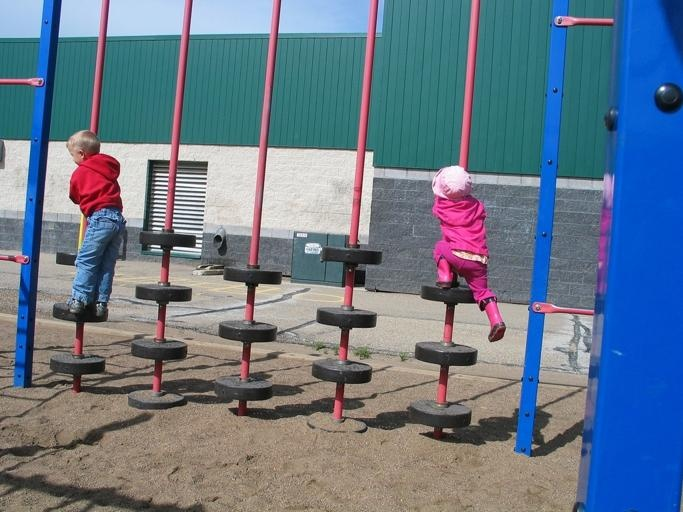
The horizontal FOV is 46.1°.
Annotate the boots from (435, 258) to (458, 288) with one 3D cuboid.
[{"bbox_3d":[0.764,0.115,5.896,0.158,0.200,0.322,5,7,7],"label":"boots"}]

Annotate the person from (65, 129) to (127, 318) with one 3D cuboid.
[{"bbox_3d":[-1.920,-0.253,6.327,0.456,1.474,0.588,2,7,-19],"label":"person"}]
